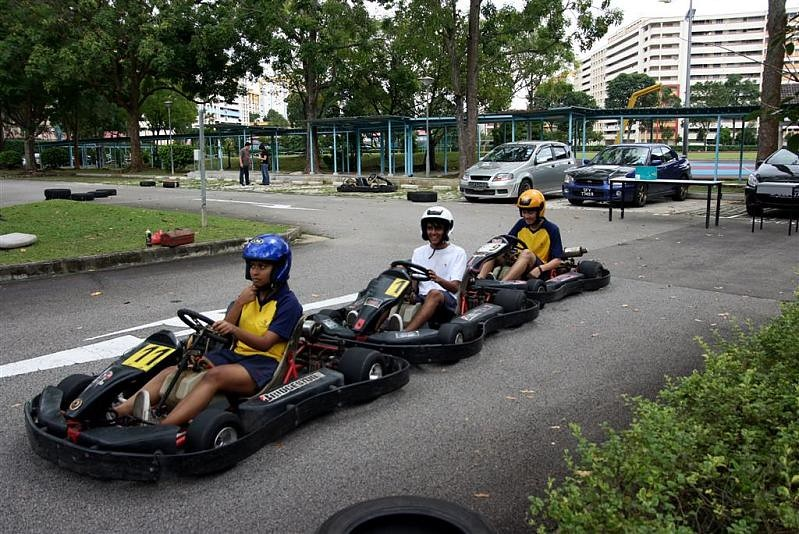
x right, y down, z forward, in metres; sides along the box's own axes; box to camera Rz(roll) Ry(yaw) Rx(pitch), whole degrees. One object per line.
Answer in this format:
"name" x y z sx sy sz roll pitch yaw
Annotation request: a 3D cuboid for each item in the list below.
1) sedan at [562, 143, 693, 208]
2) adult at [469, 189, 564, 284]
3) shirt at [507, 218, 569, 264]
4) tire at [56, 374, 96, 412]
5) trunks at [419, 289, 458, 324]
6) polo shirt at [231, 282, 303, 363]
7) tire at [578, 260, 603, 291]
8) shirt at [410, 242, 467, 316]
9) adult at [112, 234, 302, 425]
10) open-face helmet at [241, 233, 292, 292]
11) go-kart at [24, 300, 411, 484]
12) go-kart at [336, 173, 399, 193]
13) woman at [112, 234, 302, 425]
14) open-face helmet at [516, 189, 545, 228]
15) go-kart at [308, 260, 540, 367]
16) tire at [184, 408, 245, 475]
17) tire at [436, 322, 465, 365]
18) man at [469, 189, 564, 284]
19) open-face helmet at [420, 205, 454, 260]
"sedan" 6.585 -2.596 19.226 1.854 1.401 4.105 7 10 44
"adult" 1.486 -0.364 8.917 1.612 1.240 1.000 -9 13 -41
"shirt" 1.919 -0.341 9.298 0.898 0.723 0.365 6 8 31
"tire" -2.622 1.011 5.474 0.080 0.216 0.214 11 -2 14
"trunks" 0.418 0.436 7.430 0.293 0.172 0.444 0 10 44
"polo shirt" -1.210 0.525 5.981 0.645 0.728 0.429 1 -12 27
"tire" 2.749 0.101 9.588 0.292 0.229 0.429 7 5 41
"shirt" 0.455 0.025 7.881 0.603 0.693 0.348 4 32 3
"adult" -1.551 0.437 5.679 0.834 1.405 1.800 7 8 32
"open-face helmet" -1.166 -0.086 5.982 0.451 0.446 0.435 10 10 40
"go-kart" -1.587 0.942 5.727 2.817 1.154 1.229 -9 13 -30
"go-kart" -1.201 -2.966 24.585 1.463 0.505 1.092 0 8 6
"woman" -1.550 0.442 5.654 0.859 1.415 1.824 7 9 31
"open-face helmet" 1.788 -0.764 9.047 0.308 0.497 0.359 2 12 20
"go-kart" 0.391 0.558 7.429 1.331 0.515 1.692 8 7 37
"tire" -1.451 1.344 5.242 0.162 0.408 0.405 9 -10 35
"tire" 0.565 0.796 7.075 0.318 0.412 0.251 -4 11 -11
"man" 1.497 -0.362 8.898 0.979 1.264 1.638 8 12 43
"open-face helmet" 0.506 -0.449 7.854 0.430 0.498 0.380 6 -7 -38
